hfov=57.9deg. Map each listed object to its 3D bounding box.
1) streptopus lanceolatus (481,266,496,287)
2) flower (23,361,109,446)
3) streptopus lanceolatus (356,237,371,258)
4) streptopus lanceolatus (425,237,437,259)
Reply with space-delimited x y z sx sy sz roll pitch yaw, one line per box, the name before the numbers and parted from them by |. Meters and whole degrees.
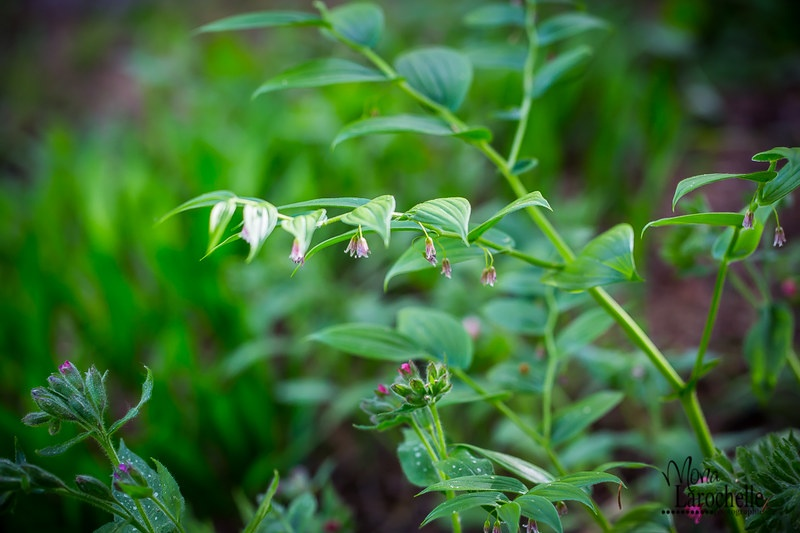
streptopus lanceolatus | 0.176 0.021 1.471 0.032 0.037 0.037 10 33 0
flower | -0.637 0.259 1.439 0.104 0.152 0.153 6 22 -4
streptopus lanceolatus | -0.068 -0.035 1.409 0.030 0.035 0.032 10 26 42
streptopus lanceolatus | 0.055 -0.040 1.406 0.020 0.040 0.034 -14 29 1
